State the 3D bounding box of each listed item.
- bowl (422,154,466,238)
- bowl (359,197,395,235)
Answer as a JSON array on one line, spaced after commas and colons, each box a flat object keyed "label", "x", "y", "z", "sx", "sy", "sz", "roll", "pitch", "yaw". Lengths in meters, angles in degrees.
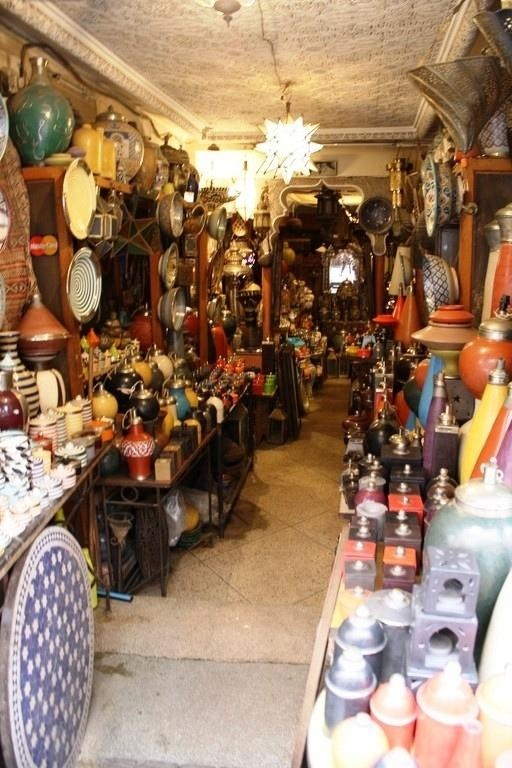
[{"label": "bowl", "x": 0.814, "y": -0.844, "z": 2.432, "sx": 0.145, "sy": 0.343, "sz": 0.377, "roll": 2, "pitch": 9, "yaw": 14}, {"label": "bowl", "x": 1.344, "y": -1.899, "z": 6.192, "sx": 0.378, "sy": 0.401, "sz": 0.262, "roll": 2, "pitch": 9, "yaw": 12}]
